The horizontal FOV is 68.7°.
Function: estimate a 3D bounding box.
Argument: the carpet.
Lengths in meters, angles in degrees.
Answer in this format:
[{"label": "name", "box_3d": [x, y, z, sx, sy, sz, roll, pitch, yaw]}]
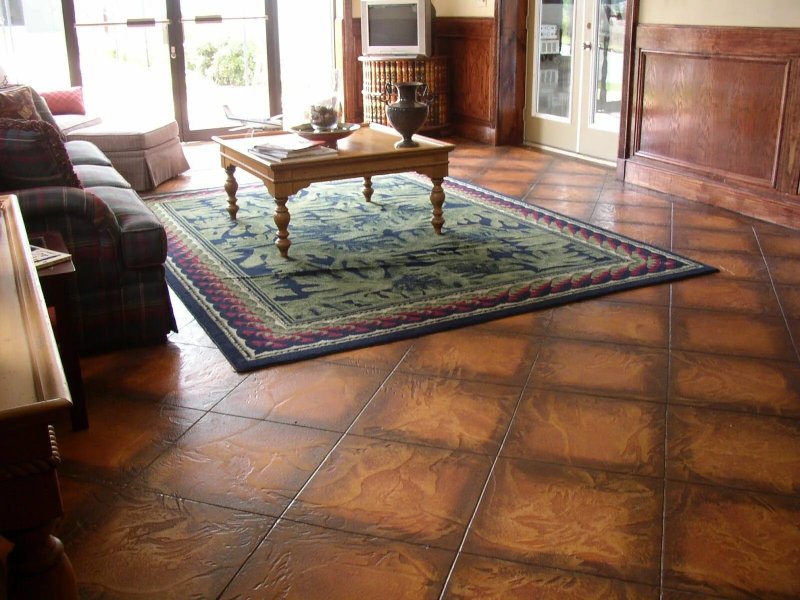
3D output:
[{"label": "carpet", "box_3d": [-0.140, -0.478, 4.214, 2.966, 0.257, 3.017, -10, 23, -22]}]

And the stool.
[{"label": "stool", "box_3d": [-2.380, -1.306, 5.351, 0.952, 0.406, 0.710, 10, 30, 17]}]
